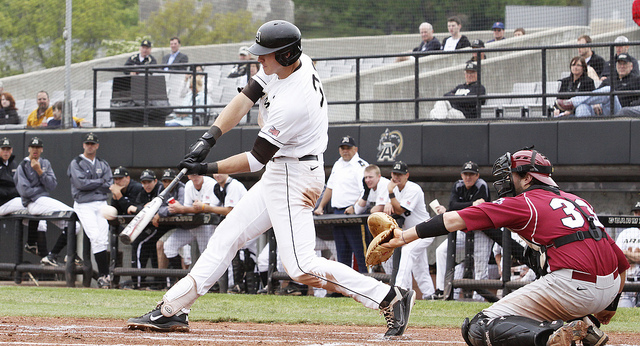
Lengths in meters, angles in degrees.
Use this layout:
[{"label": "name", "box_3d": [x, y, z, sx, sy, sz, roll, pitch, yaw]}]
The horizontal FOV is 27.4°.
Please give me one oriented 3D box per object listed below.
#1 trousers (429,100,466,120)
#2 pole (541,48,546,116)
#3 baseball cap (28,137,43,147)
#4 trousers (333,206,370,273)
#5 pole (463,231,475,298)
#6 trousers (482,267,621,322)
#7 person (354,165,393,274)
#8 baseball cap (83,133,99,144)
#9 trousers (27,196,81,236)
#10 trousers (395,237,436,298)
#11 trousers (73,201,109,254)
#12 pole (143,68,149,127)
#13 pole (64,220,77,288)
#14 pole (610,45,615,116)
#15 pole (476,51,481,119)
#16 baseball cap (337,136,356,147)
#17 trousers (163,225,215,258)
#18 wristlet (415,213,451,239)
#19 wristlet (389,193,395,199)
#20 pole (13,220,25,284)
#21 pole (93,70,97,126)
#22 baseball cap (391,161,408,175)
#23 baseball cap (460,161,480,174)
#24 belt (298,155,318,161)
[{"label": "trousers", "box_3d": [3.148, -1.515, 32.557, 0.923, 0.487, 0.245, -2, -2, 20]}, {"label": "pole", "box_3d": [5.469, -2.156, 32.060, 0.113, 1.607, 0.611, -2, -2, 10]}, {"label": "baseball cap", "box_3d": [-6.882, -0.694, 31.932, 0.280, 0.214, 0.374, 10, -4, -9]}, {"label": "trousers", "box_3d": [0.731, 1.716, 30.432, 0.728, 1.184, 0.362, -1, 4, 18]}, {"label": "pole", "box_3d": [3.409, 2.175, 30.088, 0.280, 1.520, 0.212, -1, -2, 0]}, {"label": "trousers", "box_3d": [4.696, 2.537, 26.013, 1.890, 1.237, 1.454, 0, -1, -17]}, {"label": "person", "box_3d": [1.216, 1.123, 30.872, 0.886, 2.430, 0.754, 0, 1, 27]}, {"label": "baseball cap", "box_3d": [-5.554, -0.783, 31.896, 0.318, 0.265, 0.345, -1, -2, -15]}, {"label": "trousers", "box_3d": [-6.441, 1.088, 31.912, 0.640, 0.969, 0.970, -5, -3, 37]}, {"label": "trousers", "box_3d": [2.216, 2.270, 30.457, 0.787, 1.390, 1.097, -2, -2, 23]}, {"label": "trousers", "box_3d": [-5.550, 1.331, 31.858, 0.657, 1.424, 0.634, 0, -1, -26]}, {"label": "pole", "box_3d": [-4.489, -1.921, 33.971, 0.169, 1.531, 0.183, -1, -2, -8]}, {"label": "pole", "box_3d": [-5.960, 1.995, 31.437, 0.295, 1.607, 0.249, -1, -2, -11]}, {"label": "pole", "box_3d": [7.015, -2.201, 31.535, 0.136, 1.666, 0.316, -2, -2, 12]}, {"label": "pole", "box_3d": [3.910, -2.120, 32.257, 0.091, 1.601, 0.431, -1, -2, 7]}, {"label": "baseball cap", "box_3d": [0.647, -0.705, 31.146, 0.345, 0.267, 0.482, -1, -2, -7]}, {"label": "trousers", "box_3d": [-3.102, 1.618, 30.918, 1.271, 0.669, 0.371, -12, -13, 19]}, {"label": "wristlet", "box_3d": [2.245, 1.191, 26.098, 0.534, 0.217, 0.519, -22, 28, 7]}, {"label": "wristlet", "box_3d": [1.667, 0.582, 30.402, 0.118, 0.080, 0.112, 1, -2, -4]}, {"label": "pole", "box_3d": [-7.275, 1.975, 31.816, 0.273, 1.543, 0.264, -1, -2, -13]}, {"label": "pole", "box_3d": [-5.887, -1.913, 34.452, 0.123, 1.436, 0.400, -1, -2, -9]}, {"label": "baseball cap", "box_3d": [1.844, -0.054, 30.564, 0.368, 0.289, 0.267, -1, -2, 0]}, {"label": "baseball cap", "box_3d": [3.480, -0.059, 30.441, 0.331, 0.272, 0.256, -2, -2, 14]}, {"label": "belt", "box_3d": [-0.229, -0.262, 26.545, 0.393, 0.114, 0.044, 0, -2, -14]}]
